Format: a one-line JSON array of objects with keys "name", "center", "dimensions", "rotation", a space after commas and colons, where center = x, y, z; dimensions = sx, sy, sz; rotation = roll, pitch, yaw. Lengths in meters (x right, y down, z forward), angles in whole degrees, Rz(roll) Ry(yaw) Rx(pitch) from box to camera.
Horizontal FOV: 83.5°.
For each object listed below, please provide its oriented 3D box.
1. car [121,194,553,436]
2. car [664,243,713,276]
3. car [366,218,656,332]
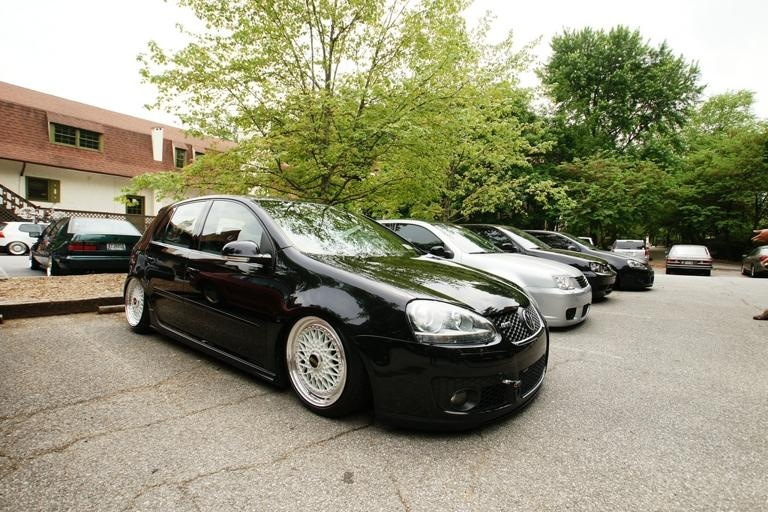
[{"name": "car", "center": [-0.831, 0.357, 4.830], "dimensions": [4.665, 1.231, 2.129], "rotation": [5, 4, 29]}, {"name": "car", "center": [14.123, 0.146, 19.888], "dimensions": [1.660, 1.340, 1.810], "rotation": [5, 6, 30]}, {"name": "car", "center": [1.726, 0.140, 7.355], "dimensions": [4.051, 0.995, 1.770], "rotation": [7, 8, 29]}]
